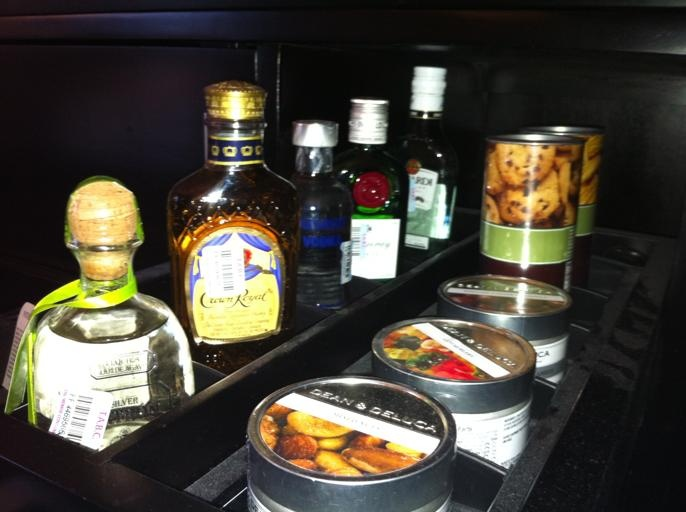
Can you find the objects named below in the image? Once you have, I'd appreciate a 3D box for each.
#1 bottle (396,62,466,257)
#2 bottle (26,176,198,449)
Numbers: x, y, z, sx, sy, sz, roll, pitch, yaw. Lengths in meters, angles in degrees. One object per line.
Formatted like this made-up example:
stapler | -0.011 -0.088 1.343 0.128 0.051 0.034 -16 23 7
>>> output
bottle | 0.128 -0.148 0.915 0.089 0.270 0.125 2 23 5
bottle | -0.211 0.047 0.507 0.135 0.216 0.117 -15 27 -31
